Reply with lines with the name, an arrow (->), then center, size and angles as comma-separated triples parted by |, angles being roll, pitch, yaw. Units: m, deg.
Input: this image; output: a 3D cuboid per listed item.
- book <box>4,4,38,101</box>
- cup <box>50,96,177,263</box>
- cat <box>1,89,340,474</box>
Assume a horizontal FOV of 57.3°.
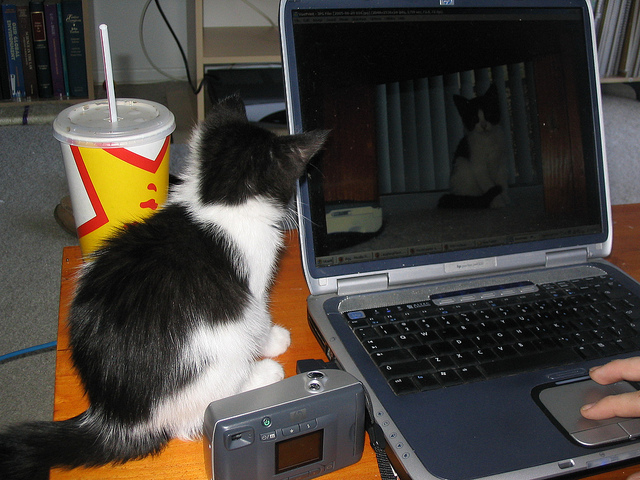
book -> -1.211, -0.757, 2.358 | 0.086, 0.343, 0.130 | -15, 21, -33
cup -> -0.363, -0.088, 1.060 | 0.210, 0.282, 0.202 | 4, 26, -2
cat -> -0.207, 0.028, 0.882 | 0.428, 0.442, 0.470 | 1, 19, 13
